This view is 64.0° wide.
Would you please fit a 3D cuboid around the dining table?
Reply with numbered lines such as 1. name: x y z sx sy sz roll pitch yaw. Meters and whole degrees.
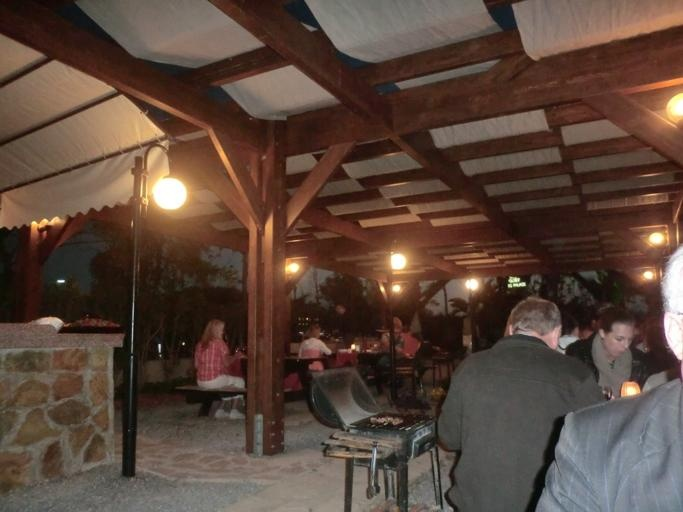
1. dining table: -0.644 2.333 10.803 2.137 0.978 3.159 -2 -12 22

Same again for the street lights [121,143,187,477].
1. street lights: -2.123 0.467 5.973 0.573 3.661 0.788 6 -11 -21

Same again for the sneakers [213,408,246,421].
1. sneakers: -1.756 2.535 8.671 0.507 0.194 0.185 -3 -19 8

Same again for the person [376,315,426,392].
1. person: 1.325 2.243 12.294 1.039 0.818 1.819 -1 12 7
